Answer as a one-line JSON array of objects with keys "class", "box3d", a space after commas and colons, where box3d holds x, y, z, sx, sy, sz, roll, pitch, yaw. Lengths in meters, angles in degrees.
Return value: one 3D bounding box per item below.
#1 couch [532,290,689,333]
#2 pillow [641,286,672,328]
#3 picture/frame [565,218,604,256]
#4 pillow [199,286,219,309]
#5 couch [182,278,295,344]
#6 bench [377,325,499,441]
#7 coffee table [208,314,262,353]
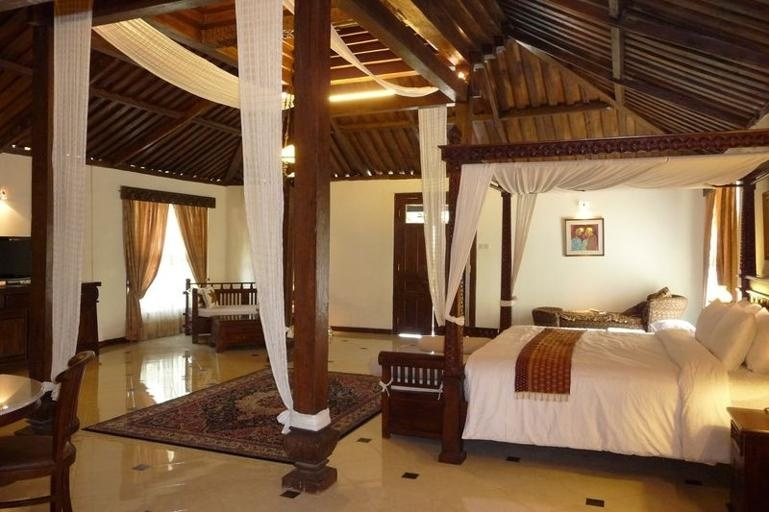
[{"class": "couch", "box3d": [3.831, 1.013, 9.478, 1.978, 0.653, 1.082, 0, -2, 15]}, {"class": "pillow", "box3d": [4.495, 0.850, 9.062, 0.646, 0.624, 0.363, 3, -5, -6]}, {"class": "picture/frame", "box3d": [3.698, -0.365, 10.101, 0.712, 0.697, 0.057, 1, 0, 17]}, {"class": "pillow", "box3d": [-3.325, 0.785, 10.143, 0.173, 0.379, 0.381, -27, -1, 22]}, {"class": "couch", "box3d": [-2.948, 1.105, 10.200, 1.609, 0.917, 1.839, 0, 1, -18]}, {"class": "bench", "box3d": [0.451, 1.471, 6.253, 0.759, 0.645, 1.225, -1, -3, 20]}, {"class": "coffee table", "box3d": [-2.567, 1.323, 9.653, 0.883, 0.592, 0.610, -1, 7, -18]}]
